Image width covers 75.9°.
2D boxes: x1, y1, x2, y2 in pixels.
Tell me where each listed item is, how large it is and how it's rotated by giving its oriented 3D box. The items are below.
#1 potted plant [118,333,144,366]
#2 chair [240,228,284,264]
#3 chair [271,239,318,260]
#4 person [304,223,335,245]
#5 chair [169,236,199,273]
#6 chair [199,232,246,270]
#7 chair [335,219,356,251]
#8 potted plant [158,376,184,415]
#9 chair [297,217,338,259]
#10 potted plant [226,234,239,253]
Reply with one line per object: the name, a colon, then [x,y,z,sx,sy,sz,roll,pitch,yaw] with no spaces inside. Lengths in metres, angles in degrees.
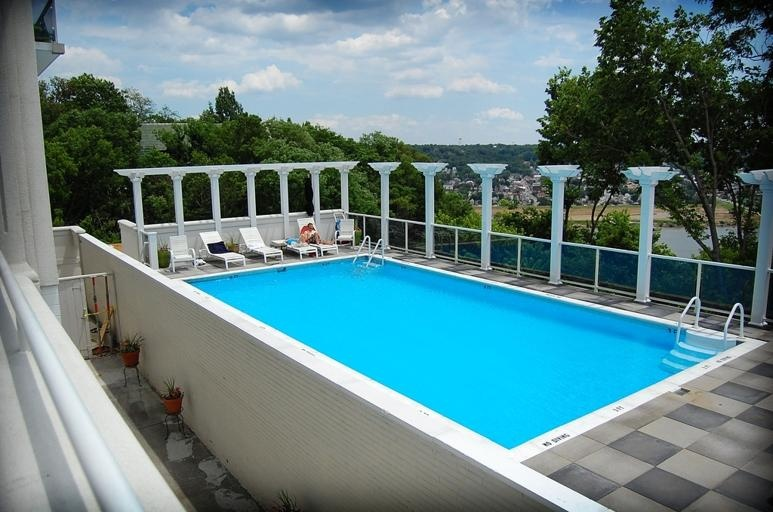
potted plant: [-5.818,2.161,11.454,0.754,0.714,0.668,1,2,-22]
chair: [-4.384,-0.412,18.266,0.854,1.166,2.529,-14,22,-36]
chair: [-3.356,-0.314,18.576,0.832,0.563,2.003,-11,14,-39]
person: [-2.729,-0.835,18.795,1.069,0.824,1.426,-4,11,-10]
chair: [-6.802,-0.071,16.415,0.722,0.989,0.866,-7,20,-39]
chair: [-5.710,-0.236,17.208,0.715,0.771,1.879,-15,23,-42]
chair: [-1.873,-0.949,19.970,0.973,1.249,1.021,1,8,0]
potted plant: [-4.180,2.800,9.680,0.372,0.628,0.666,-10,14,-33]
chair: [-2.780,-0.706,18.992,0.894,1.142,2.440,-14,27,-33]
potted plant: [-5.939,-0.467,18.642,0.600,0.680,0.646,-1,2,-6]
